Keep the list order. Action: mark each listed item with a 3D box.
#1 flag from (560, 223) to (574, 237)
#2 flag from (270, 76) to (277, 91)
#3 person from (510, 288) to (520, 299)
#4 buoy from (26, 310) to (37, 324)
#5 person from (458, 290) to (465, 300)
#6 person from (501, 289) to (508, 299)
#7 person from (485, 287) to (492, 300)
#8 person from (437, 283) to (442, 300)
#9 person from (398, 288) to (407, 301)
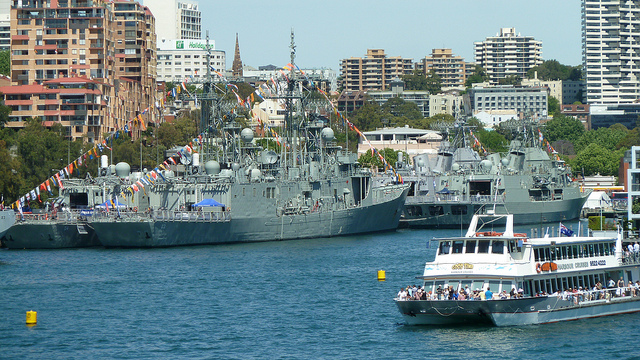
[{"bbox_3d":[28.896,6.369,169.652,0.365,1.176,2.312,18,-5,44],"label":"flag"},{"bbox_3d":[-5.938,-12.239,183.343,0.664,1.647,1.798,-2,4,-1],"label":"flag"},{"bbox_3d":[20.432,12.600,152.232,0.978,1.048,0.410,-1,4,5],"label":"person"},{"bbox_3d":[-31.139,15.425,155.745,1.344,1.238,1.275,-1,2,9],"label":"buoy"},{"bbox_3d":[14.837,12.700,152.307,0.602,0.951,0.542,-1,4,4],"label":"person"},{"bbox_3d":[19.361,12.690,152.316,0.972,1.022,0.599,2,8,16],"label":"person"},{"bbox_3d":[17.661,12.751,152.179,0.923,0.792,2.389,0,-38,9],"label":"person"},{"bbox_3d":[12.597,12.425,153.055,0.513,1.434,1.040,-1,4,3],"label":"person"},{"bbox_3d":[8.724,12.864,154.313,1.137,1.544,0.507,4,12,22],"label":"person"}]
